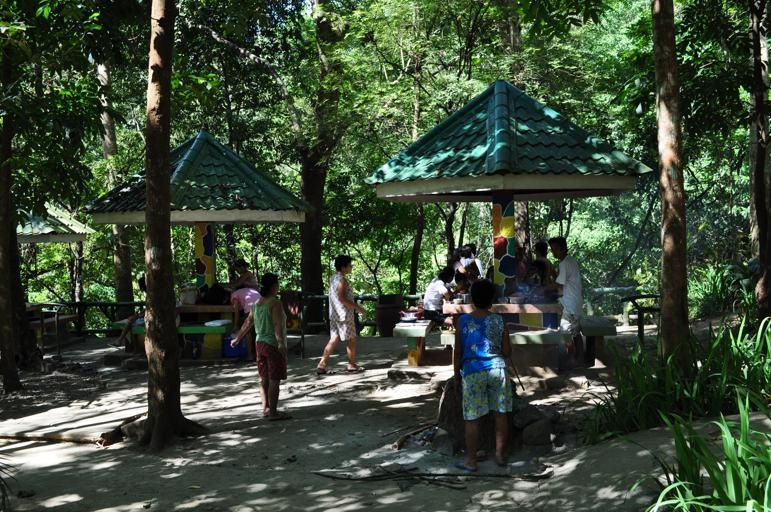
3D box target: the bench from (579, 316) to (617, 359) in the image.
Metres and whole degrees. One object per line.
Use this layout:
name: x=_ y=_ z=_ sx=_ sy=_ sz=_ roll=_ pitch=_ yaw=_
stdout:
bench: x=3.874 y=1.473 z=14.079 sx=0.661 sy=0.524 sz=1.067 roll=0 pitch=1 yaw=18

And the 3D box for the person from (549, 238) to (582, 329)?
person: x=3.183 y=0.548 z=13.564 sx=0.493 sy=1.676 sz=0.368 roll=-4 pitch=0 yaw=12

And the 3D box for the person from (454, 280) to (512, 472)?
person: x=1.299 y=1.615 z=10.323 sx=0.762 sy=2.538 sz=0.276 roll=-4 pitch=0 yaw=6

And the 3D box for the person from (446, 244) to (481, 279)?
person: x=1.672 y=0.151 z=15.884 sx=0.544 sy=0.681 sz=1.917 roll=-4 pitch=-1 yaw=7

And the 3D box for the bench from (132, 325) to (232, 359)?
bench: x=-4.440 y=1.695 z=16.747 sx=1.989 sy=0.734 sz=1.300 roll=2 pitch=13 yaw=-17

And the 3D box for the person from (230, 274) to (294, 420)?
person: x=-1.831 y=1.472 z=12.217 sx=0.453 sy=2.351 sz=0.657 roll=-4 pitch=0 yaw=-18

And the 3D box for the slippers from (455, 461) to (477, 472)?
slippers: x=1.074 y=2.858 z=10.274 sx=0.251 sy=0.079 sz=0.109 roll=2 pitch=3 yaw=45

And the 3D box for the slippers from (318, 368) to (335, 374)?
slippers: x=-1.126 y=2.295 z=14.919 sx=0.381 sy=0.104 sz=0.126 roll=10 pitch=-10 yaw=-43

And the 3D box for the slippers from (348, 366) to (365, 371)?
slippers: x=-0.570 y=2.257 z=15.041 sx=0.289 sy=0.082 sz=0.118 roll=-4 pitch=-1 yaw=22
